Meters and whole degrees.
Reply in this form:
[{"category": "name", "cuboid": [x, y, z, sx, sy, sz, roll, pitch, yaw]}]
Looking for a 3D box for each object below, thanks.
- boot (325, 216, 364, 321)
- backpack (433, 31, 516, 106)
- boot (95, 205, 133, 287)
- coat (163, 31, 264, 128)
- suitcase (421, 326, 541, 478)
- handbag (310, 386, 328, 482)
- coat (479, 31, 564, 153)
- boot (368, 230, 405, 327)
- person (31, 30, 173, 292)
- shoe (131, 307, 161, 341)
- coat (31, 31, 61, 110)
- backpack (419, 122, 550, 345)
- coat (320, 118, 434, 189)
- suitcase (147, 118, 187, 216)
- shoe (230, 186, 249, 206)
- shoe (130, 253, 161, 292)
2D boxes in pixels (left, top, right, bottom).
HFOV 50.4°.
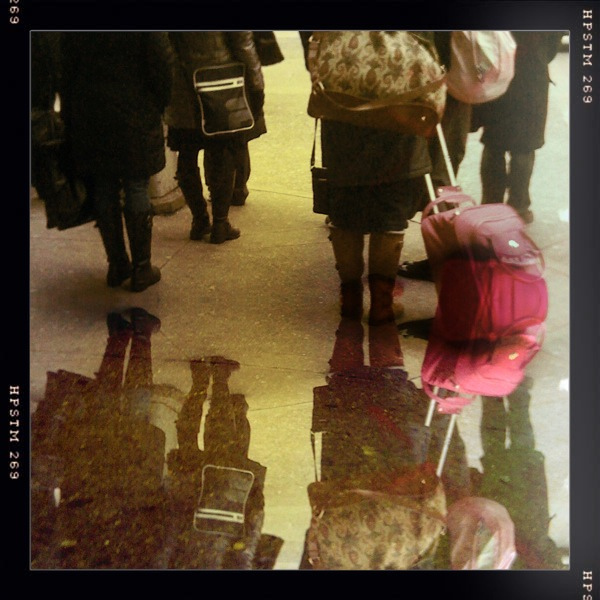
[{"category": "boot", "cuboid": [0.151, -0.114, 2.178, 0.126, 0.322, 0.134, 0, 23, 2]}, {"category": "backpack", "cuboid": [0.585, -0.770, 2.187, 0.246, 0.235, 0.217, -5, 5, 6]}, {"category": "boot", "cuboid": [-0.625, -0.185, 2.158, 0.102, 0.257, 0.085, -6, 23, -11]}, {"category": "coat", "cuboid": [-0.288, -0.731, 2.089, 0.325, 0.286, 0.082, -6, 23, -11]}, {"category": "suitcase", "cuboid": [0.565, 0.243, 2.048, 0.335, 0.541, 0.107, 12, 3, 4]}, {"category": "handbag", "cuboid": [0.063, 0.404, 2.138, 0.048, 0.212, 0.108, 2, 23, 8]}, {"category": "coat", "cuboid": [0.715, -0.685, 2.072, 0.234, 0.360, 0.154, 3, 23, 11]}, {"category": "boot", "cuboid": [0.298, -0.081, 2.193, 0.117, 0.295, 0.144, 0, 23, 3]}, {"category": "person", "cuboid": [-0.620, -0.462, 2.120, 0.453, 0.813, 0.260, -5, 23, -9]}, {"category": "shoe", "cuboid": [-0.520, 0.075, 2.165, 0.065, 0.134, 0.052, 1, 8, 2]}, {"category": "coat", "cuboid": [-0.826, -0.710, 2.094, 0.021, 0.345, 0.141, 13, 24, 13]}, {"category": "backpack", "cuboid": [0.627, -0.305, 2.252, 0.312, 0.893, 0.379, -9, 3, -36]}, {"category": "coat", "cuboid": [0.240, -0.461, 2.137, 0.250, 0.093, 0.247, 2, 5, -22]}, {"category": "suitcase", "cuboid": [-0.451, -0.436, 2.155, 0.092, 0.256, 0.096, 6, 28, 0]}, {"category": "shoe", "cuboid": [-0.206, -0.360, 2.184, 0.060, 0.065, 0.066, 0, 18, -6]}, {"category": "shoe", "cuboid": [-0.528, -0.120, 2.196, 0.065, 0.132, 0.137, 22, 35, 21]}]
